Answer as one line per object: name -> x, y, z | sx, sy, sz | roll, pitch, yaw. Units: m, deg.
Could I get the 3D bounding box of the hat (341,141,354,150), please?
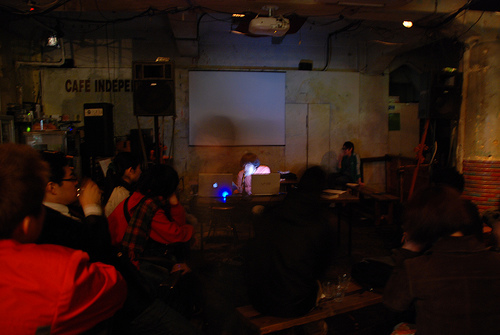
hat -> 2.034, -0.439, 9.095 | 0.213, 0.175, 0.164 | 8, -7, -6

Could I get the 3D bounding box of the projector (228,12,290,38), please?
projector -> 0.230, -2.385, 7.217 | 0.734, 0.254, 0.715 | 0, 6, 1

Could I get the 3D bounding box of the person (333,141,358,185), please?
person -> 1.971, -0.090, 9.059 | 0.475, 0.880, 0.639 | -1, 5, -8

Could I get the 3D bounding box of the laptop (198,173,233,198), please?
laptop -> -0.586, 0.282, 7.222 | 0.567, 0.370, 0.135 | 2, -3, 6

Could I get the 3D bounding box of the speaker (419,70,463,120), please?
speaker -> 3.154, -1.201, 7.241 | 0.656, 0.780, 0.320 | 1, 5, 16

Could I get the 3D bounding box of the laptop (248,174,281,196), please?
laptop -> 0.244, 0.253, 6.812 | 0.582, 0.388, 0.309 | 0, 6, -6
